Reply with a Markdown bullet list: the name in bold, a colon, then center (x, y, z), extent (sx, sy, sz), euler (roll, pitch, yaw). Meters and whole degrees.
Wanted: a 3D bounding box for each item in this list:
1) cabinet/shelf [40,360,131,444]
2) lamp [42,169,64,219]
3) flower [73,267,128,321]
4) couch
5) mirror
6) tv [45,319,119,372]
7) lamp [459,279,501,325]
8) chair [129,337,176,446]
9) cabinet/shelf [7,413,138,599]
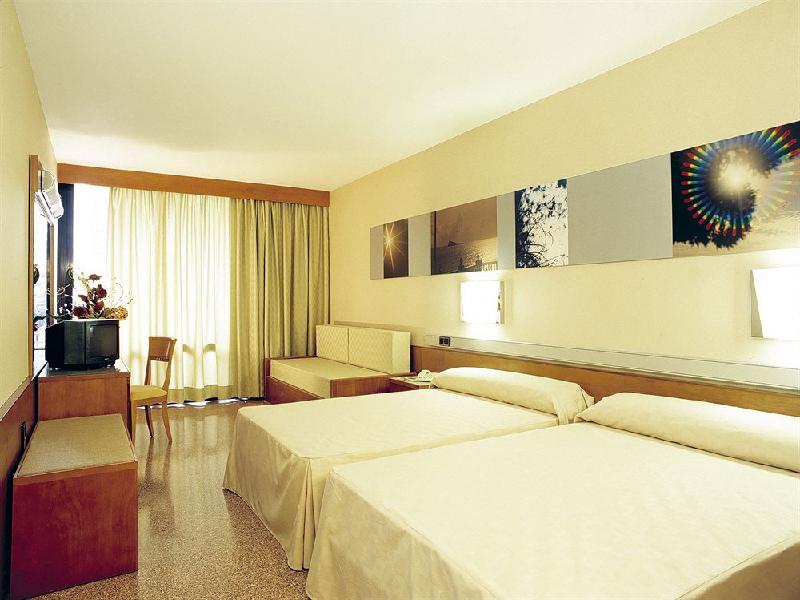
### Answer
- **cabinet/shelf**: center (-2.256, 0.647, 3.986), extent (0.628, 0.652, 0.447), euler (1, -3, -36)
- **lamp**: center (-2.868, -0.879, 4.541), extent (0.118, 0.176, 0.688), euler (-7, 3, -22)
- **flower**: center (-2.892, -0.064, 5.279), extent (0.624, 0.251, 0.483), euler (4, -9, 42)
- **couch**: center (-0.761, 0.765, 6.125), extent (0.901, 1.049, 1.817), euler (5, -1, -36)
- **mirror**: center (-2.754, -0.469, 4.269), extent (0.098, 0.977, 0.942), euler (2, -3, -27)
- **tv**: center (-2.454, 0.335, 4.266), extent (0.341, 0.445, 0.488), euler (0, -1, 29)
- **lamp**: center (0.697, 0.014, 4.739), extent (0.358, 0.362, 0.128), euler (1, 5, 19)
- **chair**: center (-2.434, 0.864, 5.240), extent (0.525, 0.957, 0.574), euler (-1, 2, -1)
- **cabinet/shelf**: center (-1.828, 0.861, 3.132), extent (0.549, 0.583, 1.181), euler (0, 5, -27)
